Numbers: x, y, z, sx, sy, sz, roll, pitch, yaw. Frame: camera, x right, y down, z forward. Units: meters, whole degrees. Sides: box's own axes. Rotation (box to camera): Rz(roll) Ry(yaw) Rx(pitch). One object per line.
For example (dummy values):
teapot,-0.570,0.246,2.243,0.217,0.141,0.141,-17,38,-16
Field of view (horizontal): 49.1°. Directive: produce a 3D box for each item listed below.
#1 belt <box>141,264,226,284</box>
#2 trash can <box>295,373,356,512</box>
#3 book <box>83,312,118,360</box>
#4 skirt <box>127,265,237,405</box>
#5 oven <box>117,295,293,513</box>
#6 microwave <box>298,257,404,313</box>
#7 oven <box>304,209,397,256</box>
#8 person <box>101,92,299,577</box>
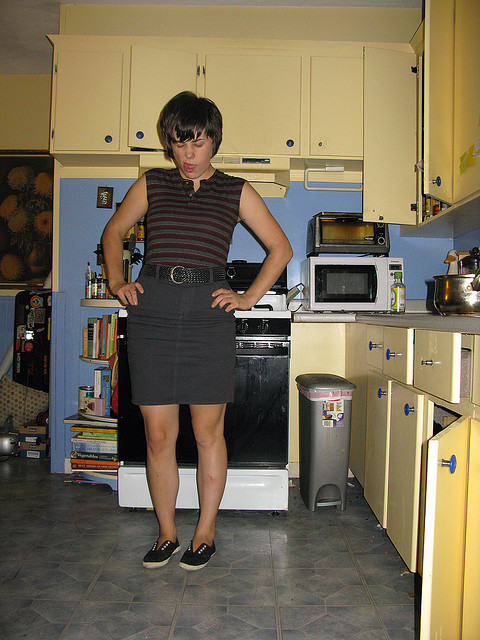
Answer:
belt,-0.164,-0.133,1.544,0.244,0.058,0.077,1,0,-11
trash can,0.368,0.528,2.295,0.235,0.556,0.288,1,-1,2
book,-0.750,0.085,2.729,0.190,0.205,0.236,3,1,-44
skirt,-0.176,0.045,1.546,0.396,0.546,0.212,0,5,-3
oven,-0.177,0.239,2.332,0.750,0.941,0.690,0,14,-17
microwave,0.572,-0.150,2.655,0.454,0.269,0.331,1,-7,2
oven,0.553,-0.385,2.683,0.370,0.241,0.266,1,-14,-2
person,-0.136,0.074,1.638,0.498,1.434,0.381,2,-1,-35
